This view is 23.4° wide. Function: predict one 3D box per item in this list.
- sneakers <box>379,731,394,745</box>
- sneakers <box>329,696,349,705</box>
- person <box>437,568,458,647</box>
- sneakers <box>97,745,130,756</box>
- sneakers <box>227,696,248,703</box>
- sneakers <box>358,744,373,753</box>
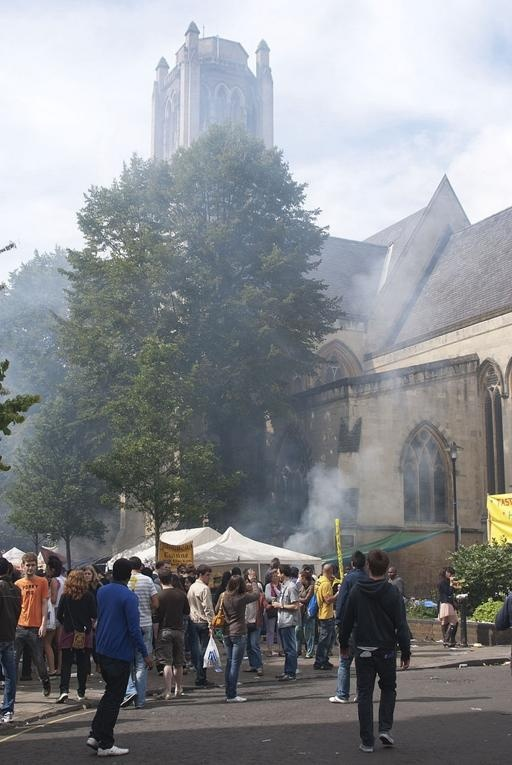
[{"bbox_3d":[1.100,3.009,10.429,0.117,0.132,0.187,-2,-9,6],"label":"sneakers"},{"bbox_3d":[0.866,3.356,13.049,0.187,0.097,0.078,-3,-11,44],"label":"sneakers"},{"bbox_3d":[3.207,3.752,20.695,0.314,1.286,1.185,-2,-9,9],"label":"person"},{"bbox_3d":[-1.212,3.092,10.363,0.236,0.104,0.096,1,-23,-3],"label":"sneakers"},{"bbox_3d":[-0.211,3.430,13.355,0.228,0.099,0.085,2,-3,-8],"label":"sneakers"},{"bbox_3d":[0.915,3.027,10.255,0.118,0.059,0.169,-1,-9,4],"label":"sneakers"}]
